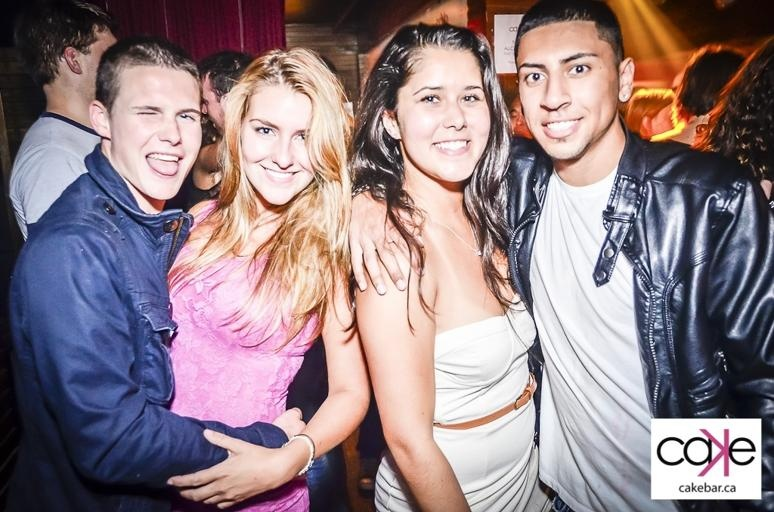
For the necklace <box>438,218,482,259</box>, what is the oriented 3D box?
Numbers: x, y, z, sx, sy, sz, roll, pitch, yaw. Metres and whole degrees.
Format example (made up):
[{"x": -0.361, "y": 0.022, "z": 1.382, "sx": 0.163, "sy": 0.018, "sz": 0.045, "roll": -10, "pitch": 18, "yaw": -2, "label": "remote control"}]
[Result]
[{"x": 0.343, "y": -0.076, "z": 2.792, "sx": 0.034, "sy": 0.234, "sz": 0.027, "roll": -47, "pitch": -5, "yaw": 40, "label": "necklace"}]

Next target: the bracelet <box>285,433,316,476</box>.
[{"x": -0.377, "y": 0.900, "z": 2.622, "sx": 0.145, "sy": 0.179, "sz": 0.063, "roll": 18, "pitch": -17, "yaw": -18, "label": "bracelet"}]
